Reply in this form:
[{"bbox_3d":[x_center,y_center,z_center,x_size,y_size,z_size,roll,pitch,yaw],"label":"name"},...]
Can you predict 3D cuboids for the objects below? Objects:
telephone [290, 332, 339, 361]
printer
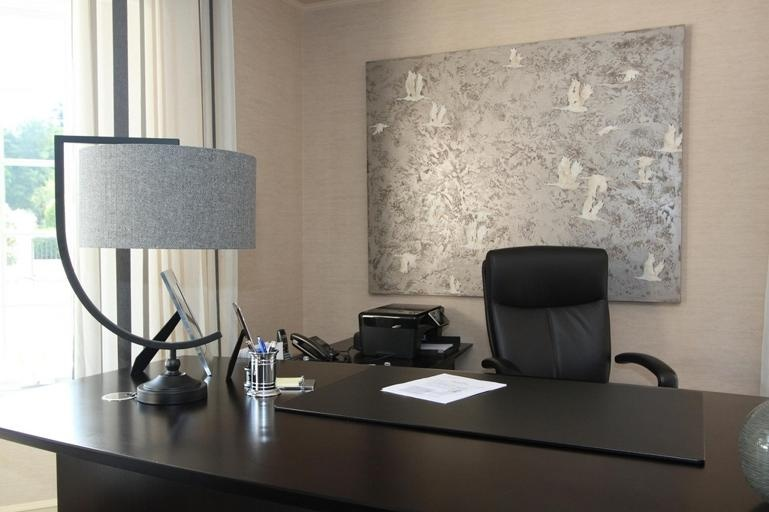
[{"bbox_3d":[-0.392,0.510,3.268,0.216,0.072,0.160,24,-1,19],"label":"telephone"},{"bbox_3d":[0.112,0.479,3.513,0.406,0.203,0.398,0,1,22],"label":"printer"}]
